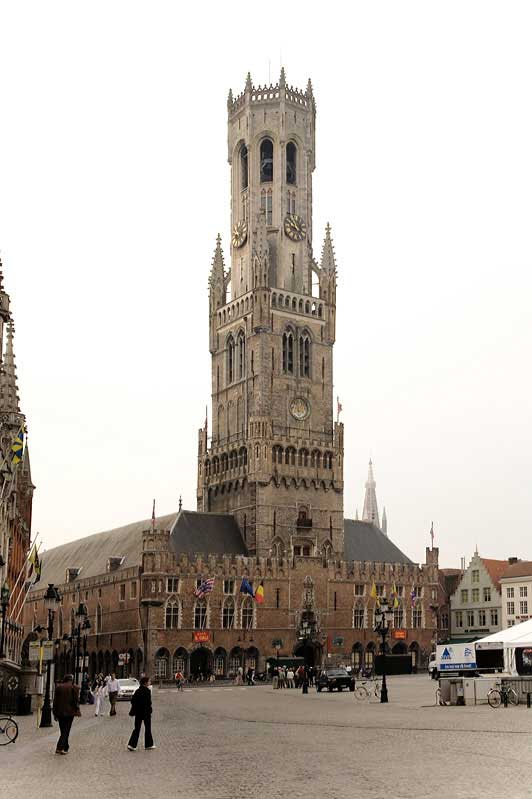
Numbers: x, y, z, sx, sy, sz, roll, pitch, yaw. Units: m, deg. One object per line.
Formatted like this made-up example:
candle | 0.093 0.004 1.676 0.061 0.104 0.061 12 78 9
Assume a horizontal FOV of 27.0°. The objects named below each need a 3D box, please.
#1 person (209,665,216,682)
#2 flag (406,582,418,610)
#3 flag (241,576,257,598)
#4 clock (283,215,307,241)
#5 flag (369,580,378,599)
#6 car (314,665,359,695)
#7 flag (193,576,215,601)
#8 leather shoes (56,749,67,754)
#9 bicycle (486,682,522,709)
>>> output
person | -4.105 21.077 85.479 0.425 0.964 1.527 -1 -16 4
flag | 13.313 17.609 99.819 1.093 2.319 2.917 -3 -16 10
flag | -1.438 14.783 88.021 1.184 1.712 2.664 0 -16 -2
clock | 2.742 -16.227 104.770 1.872 2.368 2.135 -21 11 5
flag | 9.228 16.309 95.655 0.971 2.183 0.117 30 48 35
car | 3.928 15.928 63.423 1.079 1.235 2.392 3 -27 -17
flag | -4.762 14.299 85.441 1.527 1.671 3.145 1 -17 -4
leather shoes | -4.033 6.907 21.813 0.231 0.102 0.575 3 -18 -11
bicycle | 8.373 10.443 39.171 1.193 1.065 0.708 -11 -8 7
